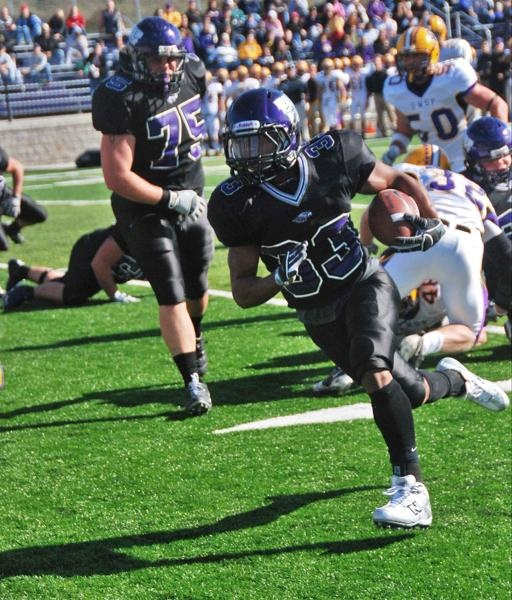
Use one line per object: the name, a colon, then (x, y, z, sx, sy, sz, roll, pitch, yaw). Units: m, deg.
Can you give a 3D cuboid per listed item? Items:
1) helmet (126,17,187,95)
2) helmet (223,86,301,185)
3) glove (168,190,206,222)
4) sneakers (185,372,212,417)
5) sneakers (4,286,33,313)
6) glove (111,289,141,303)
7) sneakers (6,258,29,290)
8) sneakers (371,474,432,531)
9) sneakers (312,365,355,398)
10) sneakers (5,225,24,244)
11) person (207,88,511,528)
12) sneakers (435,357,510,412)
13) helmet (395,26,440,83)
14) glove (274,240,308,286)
helmet: (-0.353, -0.853, 2.639, 0.176, 0.258, 0.112, -4, 16, -5)
helmet: (0.020, -0.431, 1.968, 0.216, 0.241, 0.169, -7, 16, -16)
glove: (-0.265, -0.340, 2.729, 0.137, 0.097, 0.057, 29, -24, -28)
sneakers: (-0.212, 0.335, 2.568, 0.068, 0.093, 0.181, -37, 0, -5)
sneakers: (-1.291, -0.003, 4.024, 0.148, 0.071, 0.123, -20, 7, 19)
glove: (-0.758, -0.023, 4.317, 0.117, 0.040, 0.075, 24, 2, -33)
sneakers: (-1.322, -0.133, 4.051, 0.119, 0.174, 0.158, -2, 15, 4)
sneakers: (0.353, 0.497, 1.791, 0.125, 0.120, 0.151, 2, 14, 15)
sneakers: (0.289, 0.310, 2.818, 0.206, 0.072, 0.085, -17, 44, 29)
sneakers: (-1.235, -0.328, 3.787, 0.082, 0.120, 0.190, -7, 14, -16)
person: (0.212, -0.020, 1.979, 0.681, 1.068, 0.739, 1, 16, 13)
sneakers: (0.738, 0.292, 2.534, 0.281, 0.081, 0.098, 26, 44, -8)
helmet: (1.027, -1.543, 4.742, 0.261, 0.334, 0.234, 0, 16, 9)
glove: (0.083, -0.089, 1.840, 0.048, 0.118, 0.087, 26, 37, -31)
